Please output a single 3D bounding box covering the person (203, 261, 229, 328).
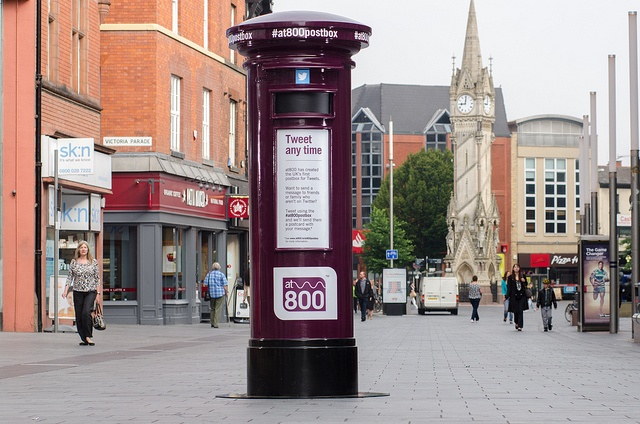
[{"bbox_3d":[-3.574,2.852,38.292,0.718,2.230,1.519,-2,-7,-6],"label":"person"}]

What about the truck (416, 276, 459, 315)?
[{"bbox_3d":[5.901,4.268,56.618,1.889,1.920,1.406,-2,-7,1],"label":"truck"}]

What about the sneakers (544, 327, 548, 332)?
[{"bbox_3d":[7.573,3.996,37.904,0.146,0.130,0.069,3,3,14],"label":"sneakers"}]

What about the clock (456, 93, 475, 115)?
[{"bbox_3d":[10.320,-7.754,80.111,1.646,1.550,0.167,1,0,21],"label":"clock"}]

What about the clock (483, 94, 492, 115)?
[{"bbox_3d":[11.821,-7.712,80.180,0.128,1.463,1.531,-2,1,24],"label":"clock"}]

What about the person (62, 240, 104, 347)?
[{"bbox_3d":[-6.034,2.086,28.571,0.736,2.672,1.006,-1,-7,-13],"label":"person"}]
